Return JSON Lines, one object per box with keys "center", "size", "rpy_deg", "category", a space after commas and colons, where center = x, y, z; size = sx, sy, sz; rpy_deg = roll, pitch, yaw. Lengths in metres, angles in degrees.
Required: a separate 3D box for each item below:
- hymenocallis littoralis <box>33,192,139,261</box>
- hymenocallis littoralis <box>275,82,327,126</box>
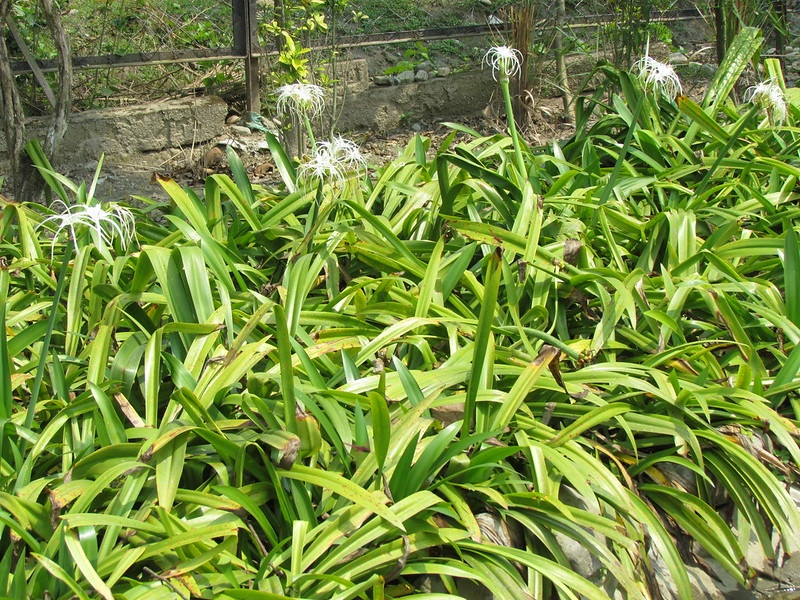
{"center": [-0.852, -0.194, 1.995], "size": [0.293, 0.143, 0.317], "rpy_deg": [-2, 4, 19], "category": "hymenocallis littoralis"}
{"center": [-0.281, -0.586, 2.151], "size": [0.151, 0.088, 0.147], "rpy_deg": [-5, 0, 18], "category": "hymenocallis littoralis"}
